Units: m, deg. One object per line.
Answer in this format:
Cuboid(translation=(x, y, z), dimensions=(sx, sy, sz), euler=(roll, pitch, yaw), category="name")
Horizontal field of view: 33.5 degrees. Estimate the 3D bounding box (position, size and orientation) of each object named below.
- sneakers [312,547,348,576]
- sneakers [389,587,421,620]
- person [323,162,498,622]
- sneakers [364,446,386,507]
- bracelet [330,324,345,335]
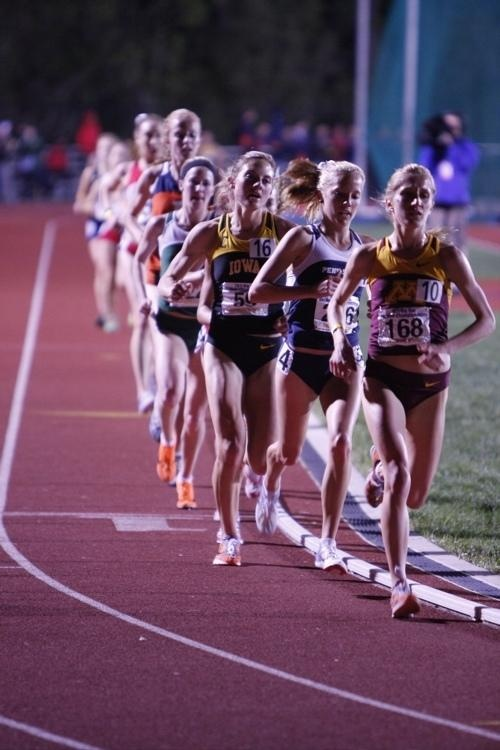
Cuboid(translation=(0.355, 0.835, 3.737), dimensions=(0.083, 0.091, 0.211), euler=(5, -16, -13), category="sneakers")
Cuboid(translation=(0.609, 0.884, 3.250), dimensions=(0.109, 0.153, 0.154), euler=(3, 3, 12), category="sneakers")
Cuboid(translation=(0.653, 0.042, 3.476), dimensions=(0.625, 1.814, 0.628), euler=(1, 4, -25), category="person")
Cuboid(translation=(0.669, 0.553, 4.429), dimensions=(0.138, 0.364, 0.163), euler=(1, 26, 6), category="sneakers")
Cuboid(translation=(0.366, -0.191, 3.462), dimensions=(0.042, 0.028, 0.041), euler=(-2, -2, 33), category="bracelet")
